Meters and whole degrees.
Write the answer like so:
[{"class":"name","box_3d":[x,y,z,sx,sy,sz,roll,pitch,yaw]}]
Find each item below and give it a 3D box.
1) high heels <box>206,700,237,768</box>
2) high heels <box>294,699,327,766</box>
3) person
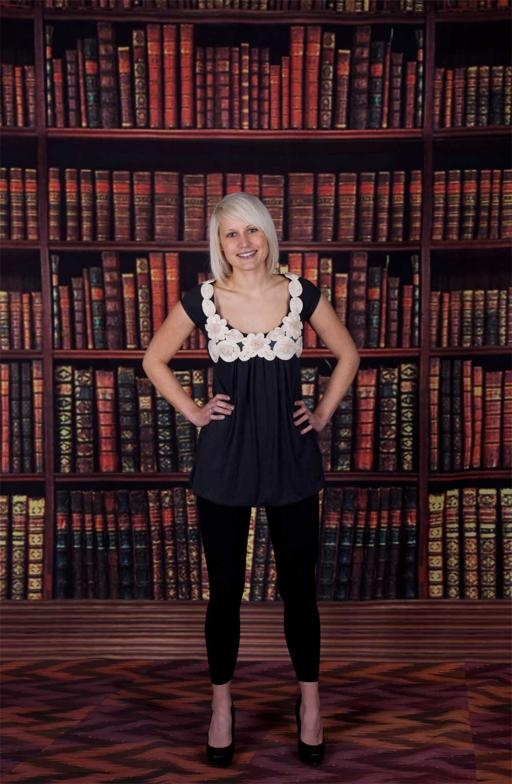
[{"class":"high heels","box_3d":[-0.093,0.915,2.298,0.065,0.161,0.067,0,34,-1]},{"class":"high heels","box_3d":[0.152,0.934,2.352,0.065,0.159,0.062,-3,-25,0]},{"class":"person","box_3d":[0.015,0.224,2.345,0.598,1.502,0.450,-3,13,-6]}]
